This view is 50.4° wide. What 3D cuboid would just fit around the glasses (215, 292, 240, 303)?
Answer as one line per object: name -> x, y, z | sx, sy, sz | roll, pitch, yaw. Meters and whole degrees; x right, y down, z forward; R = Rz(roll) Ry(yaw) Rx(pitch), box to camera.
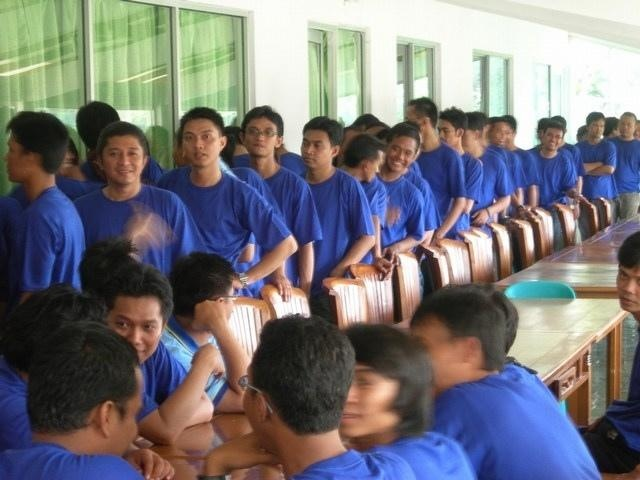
glasses -> -0.359, 0.217, 2.631 | 0.042, 0.044, 0.133 | 1, 4, 20
